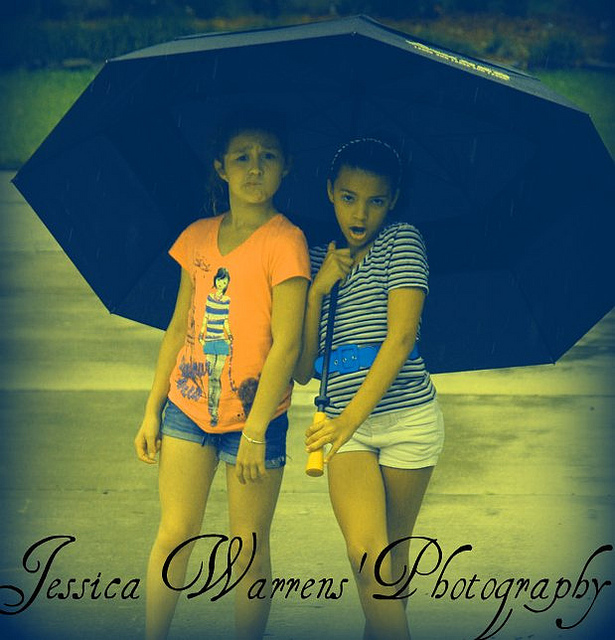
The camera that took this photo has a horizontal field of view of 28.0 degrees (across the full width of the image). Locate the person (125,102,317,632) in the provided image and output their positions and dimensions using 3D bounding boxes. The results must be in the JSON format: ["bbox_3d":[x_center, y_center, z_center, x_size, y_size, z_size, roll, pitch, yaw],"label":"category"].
[{"bbox_3d":[-0.288,0.169,4.685,0.598,2.042,0.545,10,-9,-7],"label":"person"}]

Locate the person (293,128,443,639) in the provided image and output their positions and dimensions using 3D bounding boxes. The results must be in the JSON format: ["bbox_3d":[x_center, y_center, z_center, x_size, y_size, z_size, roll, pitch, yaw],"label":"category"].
[{"bbox_3d":[0.248,0.214,4.627,0.607,1.897,0.491,10,-8,-5],"label":"person"}]

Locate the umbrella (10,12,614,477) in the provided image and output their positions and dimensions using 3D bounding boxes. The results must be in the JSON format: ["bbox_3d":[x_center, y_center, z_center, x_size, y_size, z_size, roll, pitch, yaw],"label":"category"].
[{"bbox_3d":[0.113,-0.493,4.744,2.202,1.194,1.316,14,-9,-7],"label":"umbrella"}]

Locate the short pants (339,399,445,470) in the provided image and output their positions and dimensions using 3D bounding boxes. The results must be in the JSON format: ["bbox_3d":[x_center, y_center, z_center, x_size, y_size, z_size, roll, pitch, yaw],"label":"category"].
[{"bbox_3d":[0.363,0.434,4.619,0.299,0.239,0.238,-19,-10,16],"label":"short pants"}]
